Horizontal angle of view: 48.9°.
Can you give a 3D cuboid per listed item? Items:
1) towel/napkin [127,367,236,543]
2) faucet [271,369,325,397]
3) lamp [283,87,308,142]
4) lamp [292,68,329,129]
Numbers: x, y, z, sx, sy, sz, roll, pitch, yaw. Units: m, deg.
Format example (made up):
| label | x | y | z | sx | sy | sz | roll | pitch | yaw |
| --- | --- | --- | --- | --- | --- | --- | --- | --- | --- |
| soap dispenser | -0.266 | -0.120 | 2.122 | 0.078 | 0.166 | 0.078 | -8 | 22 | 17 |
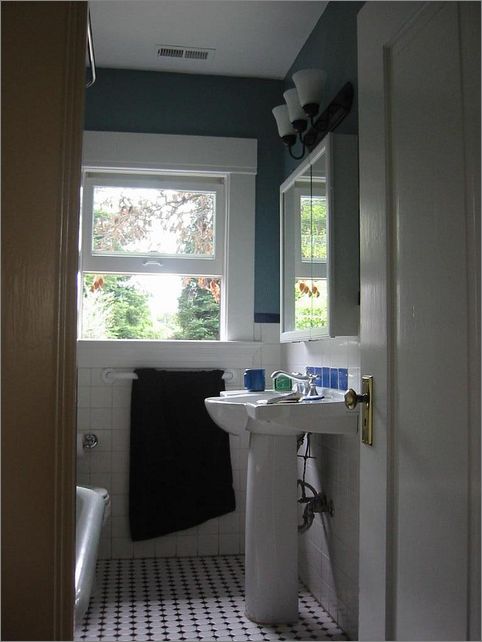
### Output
| label | x | y | z | sx | sy | sz | roll | pitch | yaw |
| --- | --- | --- | --- | --- | --- | --- | --- | --- | --- |
| towel/napkin | -0.306 | 0.738 | 2.923 | 0.558 | 0.122 | 1.083 | 0 | 39 | -10 |
| faucet | 0.258 | 0.248 | 2.311 | 0.073 | 0.130 | 0.285 | 0 | 1 | -23 |
| lamp | 0.238 | -0.896 | 2.262 | 0.092 | 0.170 | 0.106 | -17 | 11 | -17 |
| lamp | 0.268 | -0.894 | 2.120 | 0.129 | 0.227 | 0.147 | -5 | 10 | -19 |
